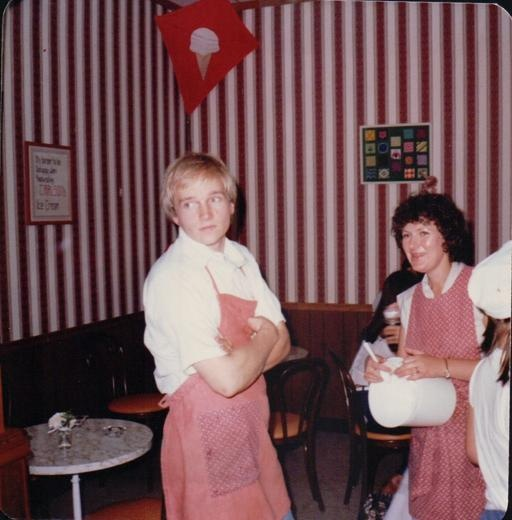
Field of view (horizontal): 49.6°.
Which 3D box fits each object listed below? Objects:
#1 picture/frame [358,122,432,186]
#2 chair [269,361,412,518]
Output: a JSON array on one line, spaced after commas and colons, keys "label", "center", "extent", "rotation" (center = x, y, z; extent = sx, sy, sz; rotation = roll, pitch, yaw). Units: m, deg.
[{"label": "picture/frame", "center": [0.739, -0.565, 2.903], "extent": [0.373, 0.323, 0.020], "rotation": [3, 6, 44]}, {"label": "chair", "center": [0.403, 0.720, 2.918], "extent": [0.679, 1.188, 0.659], "rotation": [0, 3, 10]}]
